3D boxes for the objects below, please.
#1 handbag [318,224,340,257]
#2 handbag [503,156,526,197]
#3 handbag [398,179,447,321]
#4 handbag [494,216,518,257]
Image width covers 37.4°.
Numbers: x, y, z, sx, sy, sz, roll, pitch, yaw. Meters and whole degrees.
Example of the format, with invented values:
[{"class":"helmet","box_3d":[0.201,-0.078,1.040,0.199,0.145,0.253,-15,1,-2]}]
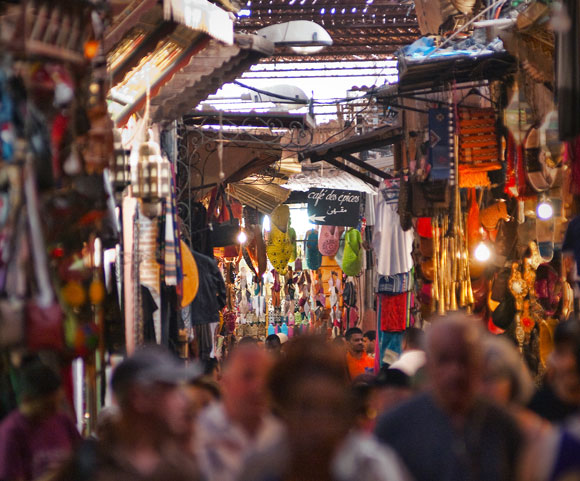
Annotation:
[{"class":"handbag","box_3d":[0.787,-0.007,16.852,0.427,0.575,0.594,1,-5,0]},{"class":"handbag","box_3d":[1.983,-0.556,7.586,0.225,0.411,0.211,-2,3,-43]},{"class":"handbag","box_3d":[1.411,0.059,9.216,0.438,1.569,1.290,0,-5,4]},{"class":"handbag","box_3d":[2.034,-0.014,8.016,0.113,0.401,0.414,1,-5,-7]}]
